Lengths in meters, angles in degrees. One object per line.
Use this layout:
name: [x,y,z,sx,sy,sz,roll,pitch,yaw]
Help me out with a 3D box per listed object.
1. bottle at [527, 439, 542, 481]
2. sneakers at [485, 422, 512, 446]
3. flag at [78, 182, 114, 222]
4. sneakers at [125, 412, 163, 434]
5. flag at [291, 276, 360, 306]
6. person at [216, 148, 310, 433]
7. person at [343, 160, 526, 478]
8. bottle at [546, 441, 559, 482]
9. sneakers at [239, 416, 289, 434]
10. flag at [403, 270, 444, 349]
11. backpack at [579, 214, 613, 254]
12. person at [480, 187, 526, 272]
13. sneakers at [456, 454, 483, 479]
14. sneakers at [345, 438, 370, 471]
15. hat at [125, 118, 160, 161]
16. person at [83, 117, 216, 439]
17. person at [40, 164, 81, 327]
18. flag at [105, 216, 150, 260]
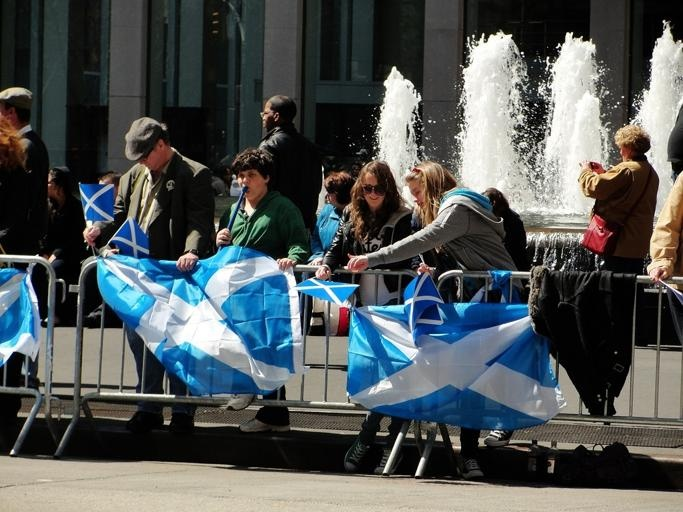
bottle: [1.945,2.081,15.486,0.125,0.365,0.113,0,-1,-28]
sneakers: [1.525,1.869,15.586,0.384,0.160,0.133,5,4,-9]
flag: [-2.616,-0.566,16.306,0.449,0.467,0.055,-3,13,-4]
sneakers: [-2.048,1.755,15.902,0.364,0.165,0.174,13,-3,-28]
flag: [-0.159,0.360,15.490,0.654,0.040,0.505,6,24,28]
person: [-0.825,0.355,15.910,0.949,2.978,0.846,0,-1,-4]
person: [1.054,0.634,15.541,1.528,3.216,0.537,0,-1,6]
bottle: [2.107,2.083,15.442,0.158,0.361,0.121,-1,-1,22]
sneakers: [-0.811,1.794,15.933,0.483,0.213,0.181,5,-6,-5]
flag: [0.815,0.577,15.293,0.545,0.642,0.206,-22,19,-21]
backpack: [3.003,-0.235,17.996,0.186,0.449,0.348,28,-3,-41]
person: [1.936,-0.087,17.831,0.500,1.556,0.476,-4,28,9]
sneakers: [1.271,2.137,15.346,0.276,0.238,0.187,-1,-1,27]
sneakers: [0.149,2.061,15.507,0.170,0.152,0.455,-15,26,26]
hat: [-2.030,-1.187,15.926,0.314,0.460,0.177,19,-16,41]
person: [-1.942,0.203,16.013,1.171,3.293,0.786,0,-1,2]
person: [-3.470,-0.111,19.025,0.508,1.982,1.201,0,-1,-8]
flag: [-2.225,-0.179,15.883,0.344,0.389,0.188,10,10,-12]
